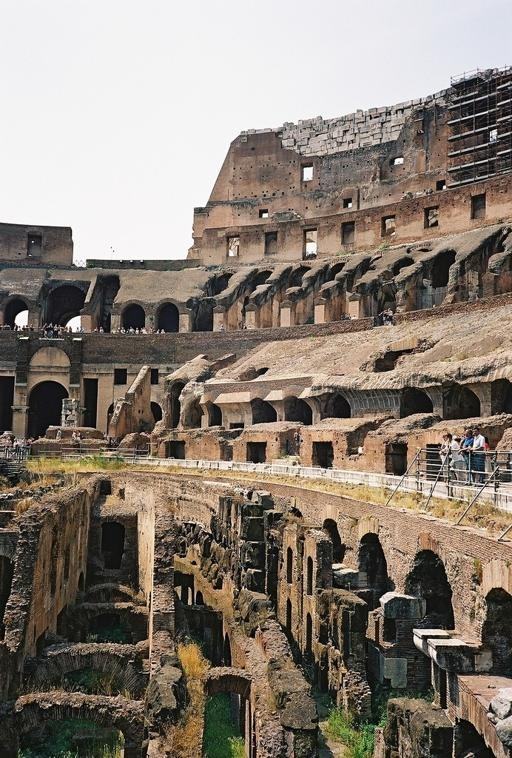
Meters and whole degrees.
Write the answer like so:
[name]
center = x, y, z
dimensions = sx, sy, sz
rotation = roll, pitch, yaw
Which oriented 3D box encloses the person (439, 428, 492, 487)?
[person]
center = 3.619, 1.364, 13.741
dimensions = 0.248, 0.921, 0.738
rotation = 4, -5, -27
